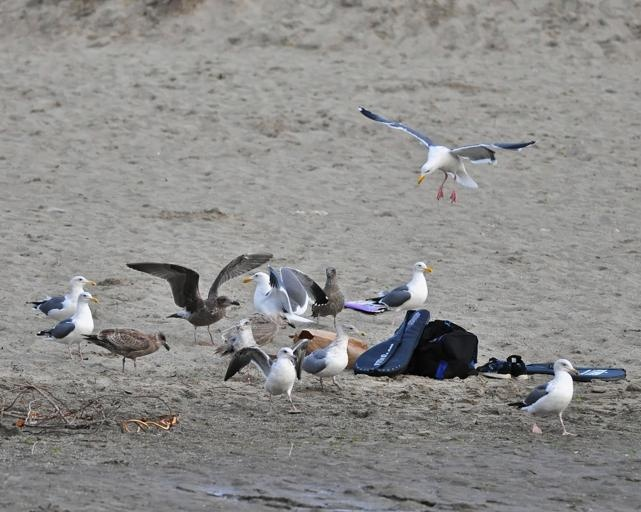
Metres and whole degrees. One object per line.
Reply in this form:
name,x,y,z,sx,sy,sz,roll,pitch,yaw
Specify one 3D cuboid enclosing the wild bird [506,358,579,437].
wild bird,3.236,1.994,16.766,0.857,0.977,0.708,7,24,7
